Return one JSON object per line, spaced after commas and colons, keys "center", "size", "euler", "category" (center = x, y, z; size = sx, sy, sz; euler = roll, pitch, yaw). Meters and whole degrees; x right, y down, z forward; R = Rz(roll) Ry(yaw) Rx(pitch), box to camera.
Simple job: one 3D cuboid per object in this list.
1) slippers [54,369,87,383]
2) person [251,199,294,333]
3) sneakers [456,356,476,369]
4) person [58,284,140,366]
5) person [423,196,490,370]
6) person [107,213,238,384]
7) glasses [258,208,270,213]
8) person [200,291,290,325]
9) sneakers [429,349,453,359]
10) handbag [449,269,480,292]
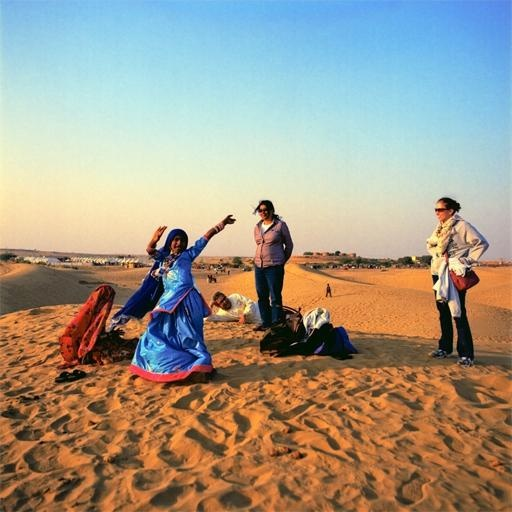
{"center": [-2.321, 1.502, 4.716], "size": [0.362, 0.054, 0.449], "euler": [0, -1, -26], "category": "slippers"}
{"center": [0.303, 0.198, 6.602], "size": [0.657, 2.236, 1.294], "euler": [0, 0, 0], "category": "person"}
{"center": [2.910, 1.453, 5.169], "size": [0.301, 0.090, 0.121], "euler": [1, -6, -10], "category": "sneakers"}
{"center": [-2.284, 0.999, 5.603], "size": [1.144, 1.027, 0.935], "euler": [-5, 24, -34], "category": "person"}
{"center": [2.742, 0.346, 5.167], "size": [0.705, 2.050, 1.572], "euler": [0, 0, 24], "category": "person"}
{"center": [-1.159, 0.540, 4.956], "size": [1.148, 2.129, 1.578], "euler": [0, 0, -19], "category": "person"}
{"center": [0.123, -0.815, 6.693], "size": [0.148, 0.042, 0.152], "euler": [-1, -3, 33], "category": "glasses"}
{"center": [-0.381, 1.314, 9.092], "size": [0.553, 0.566, 1.932], "euler": [-4, -21, 38], "category": "person"}
{"center": [2.793, 1.464, 5.629], "size": [0.352, 0.130, 0.119], "euler": [-17, 8, 11], "category": "sneakers"}
{"center": [2.838, 0.337, 5.146], "size": [0.333, 0.258, 0.350], "euler": [0, -1, 25], "category": "handbag"}
